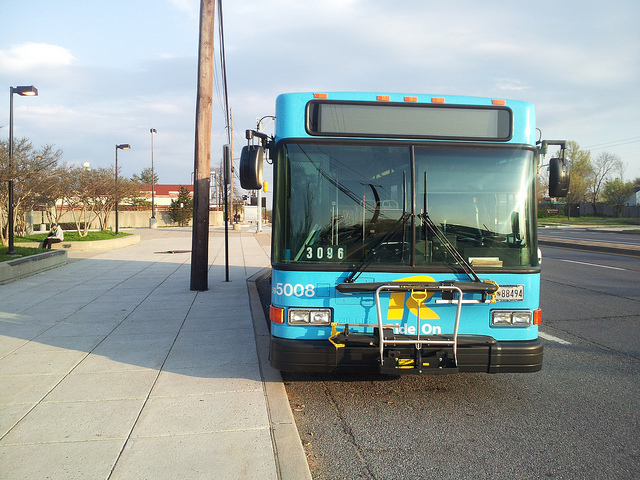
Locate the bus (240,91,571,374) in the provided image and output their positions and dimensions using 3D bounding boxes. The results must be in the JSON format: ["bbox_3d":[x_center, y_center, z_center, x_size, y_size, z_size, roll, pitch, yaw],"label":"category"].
[{"bbox_3d":[1.173,-0.193,9.370,3.618,3.510,6.701,0,4,1],"label":"bus"}]

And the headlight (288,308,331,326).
[{"bbox_3d":[-0.120,0.888,6.289,0.503,0.196,0.043,1,11,4],"label":"headlight"}]
